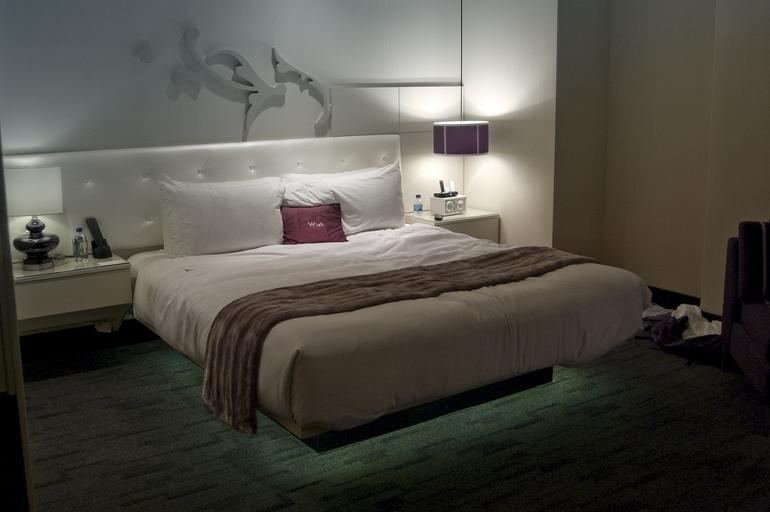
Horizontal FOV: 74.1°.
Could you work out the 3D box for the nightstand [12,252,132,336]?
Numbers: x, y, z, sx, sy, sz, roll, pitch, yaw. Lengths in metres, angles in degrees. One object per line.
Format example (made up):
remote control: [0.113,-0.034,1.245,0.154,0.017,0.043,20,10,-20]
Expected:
nightstand: [-2.530,0.213,4.100,0.754,0.444,0.707,-6,11,-31]

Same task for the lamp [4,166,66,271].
lamp: [-2.687,-0.312,3.971,0.408,0.743,0.385,-15,17,-42]

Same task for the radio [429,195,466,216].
radio: [0.663,-0.523,5.346,0.365,0.203,0.270,-2,13,3]

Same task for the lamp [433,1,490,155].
lamp: [0.750,-1.867,5.316,0.647,1.657,0.674,-8,13,-21]

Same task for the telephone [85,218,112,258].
telephone: [-2.344,-0.141,4.203,0.143,0.140,0.428,-22,62,-31]

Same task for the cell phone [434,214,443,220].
cell phone: [0.553,-0.388,5.220,0.063,0.017,0.065,-8,18,-33]

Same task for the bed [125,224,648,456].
bed: [-0.223,0.327,3.341,1.869,0.439,1.818,-11,18,-37]
